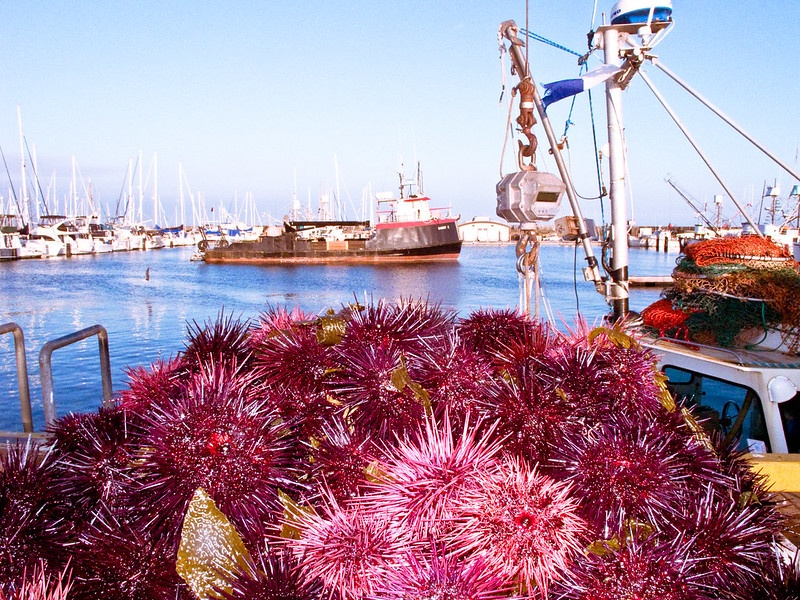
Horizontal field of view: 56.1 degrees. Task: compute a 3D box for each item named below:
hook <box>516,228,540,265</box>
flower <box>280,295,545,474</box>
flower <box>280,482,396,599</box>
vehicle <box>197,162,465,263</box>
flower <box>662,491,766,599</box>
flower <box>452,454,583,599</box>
[{"bbox_3d":[0.411,-0.183,2.373,0.071,0.124,0.059,0,-22,44],"label":"hook"},{"bbox_3d":[0.019,0.110,1.300,0.293,0.218,0.326,-2,2,-14],"label":"flower"},{"bbox_3d":[-0.093,0.372,1.153,0.187,0.132,0.098,-2,10,0],"label":"flower"},{"bbox_3d":[-4.552,-5.192,48.378,15.843,6.029,4.658,-1,2,7],"label":"vehicle"},{"bbox_3d":[0.501,0.380,1.192,0.140,0.155,0.089,-11,-19,-5],"label":"flower"},{"bbox_3d":[0.184,0.339,1.143,0.172,0.207,0.079,12,-12,1],"label":"flower"}]
